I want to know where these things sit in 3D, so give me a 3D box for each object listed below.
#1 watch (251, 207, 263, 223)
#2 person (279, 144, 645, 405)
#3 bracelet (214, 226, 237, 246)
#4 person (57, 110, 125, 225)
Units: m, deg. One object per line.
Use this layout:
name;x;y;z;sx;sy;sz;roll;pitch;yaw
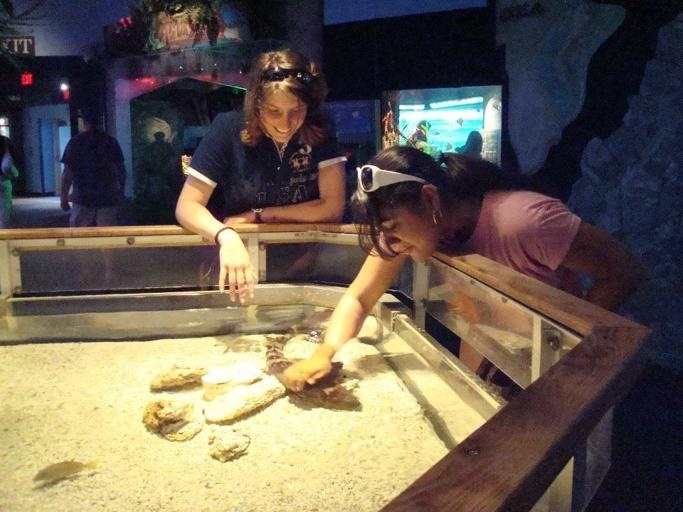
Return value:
watch;-0.412;-0.197;2.621;0.046;0.071;0.069;5;4;2
person;0.384;0.035;1.812;1.092;0.798;0.718;6;15;29
bracelet;-0.518;-0.098;2.344;0.022;0.081;0.082;38;13;4
person;-2.296;-0.778;4.906;0.586;1.005;0.253;-5;14;-17
